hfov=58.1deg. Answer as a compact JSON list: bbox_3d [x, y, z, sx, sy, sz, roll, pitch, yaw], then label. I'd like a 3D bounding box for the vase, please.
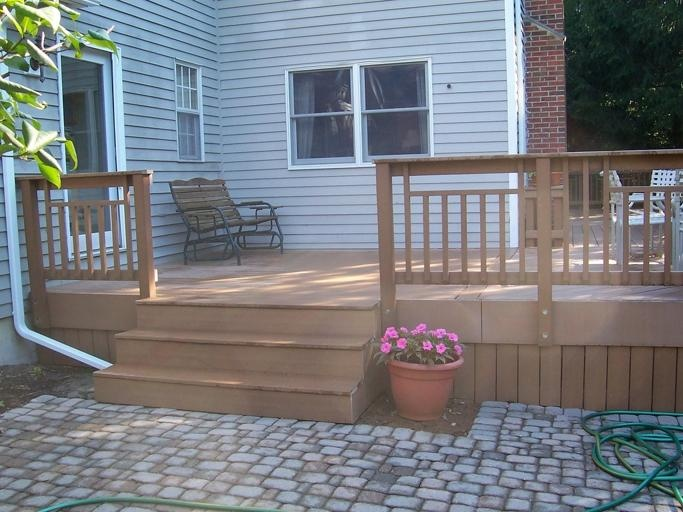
[{"bbox_3d":[0.551,0.960,4.495,0.644,0.356,0.551,5,-6,-26],"label":"vase"}]

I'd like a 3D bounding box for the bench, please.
[{"bbox_3d":[-1.411,-0.413,7.878,1.000,0.928,1.424,7,10,19],"label":"bench"}]
